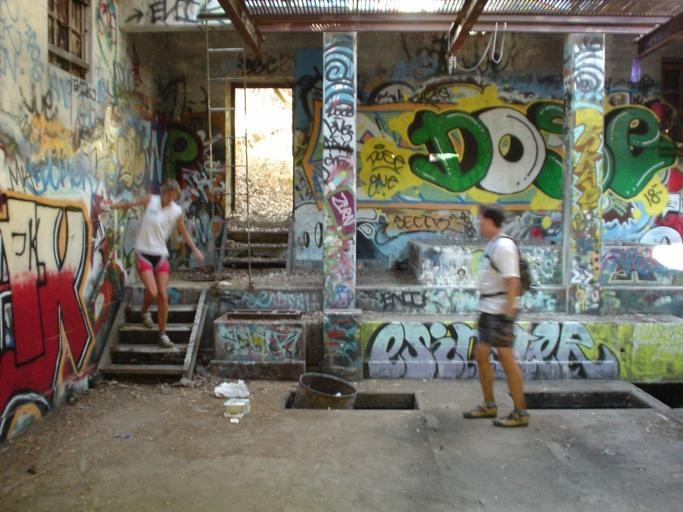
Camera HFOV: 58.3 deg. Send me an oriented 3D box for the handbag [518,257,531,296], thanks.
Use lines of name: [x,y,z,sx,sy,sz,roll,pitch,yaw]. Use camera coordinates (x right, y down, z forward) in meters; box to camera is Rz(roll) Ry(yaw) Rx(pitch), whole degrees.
handbag: [2.229,0.247,7.381,0.154,0.491,0.339,4,12,19]

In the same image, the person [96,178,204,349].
person: [-2.708,0.115,9.033,0.917,2.482,0.523,-3,11,-17]

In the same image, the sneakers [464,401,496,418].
sneakers: [1.812,1.979,7.897,0.480,0.251,0.179,0,4,7]

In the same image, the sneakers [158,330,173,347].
sneakers: [-2.609,1.245,9.059,0.327,0.263,0.120,0,3,26]

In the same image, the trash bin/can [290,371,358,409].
trash bin/can: [-0.326,1.953,8.445,0.635,0.479,0.682,17,8,25]
